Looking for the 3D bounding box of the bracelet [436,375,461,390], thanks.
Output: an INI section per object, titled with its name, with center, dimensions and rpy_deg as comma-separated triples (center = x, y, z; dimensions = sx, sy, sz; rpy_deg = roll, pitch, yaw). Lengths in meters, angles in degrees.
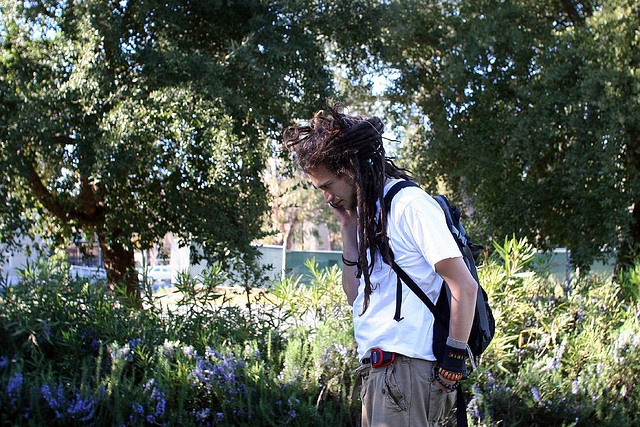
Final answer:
[bracelet]
center = 1.134, 1.490, 5.727
dimensions = 0.161, 0.074, 0.155
rpy_deg = 29, -8, -9
